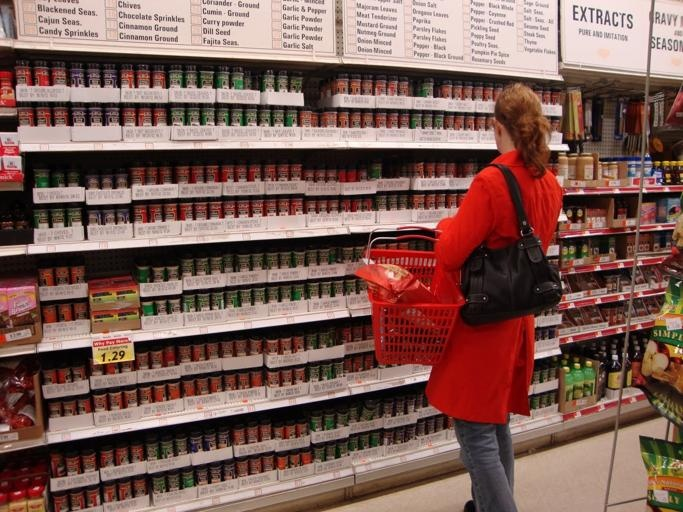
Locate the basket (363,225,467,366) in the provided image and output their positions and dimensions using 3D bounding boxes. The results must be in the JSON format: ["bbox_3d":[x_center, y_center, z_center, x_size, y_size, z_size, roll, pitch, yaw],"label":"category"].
[{"bbox_3d":[0.387,0.169,3.529,0.627,0.812,0.880,4,27,0],"label":"basket"}]

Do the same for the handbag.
[{"bbox_3d":[0.854,-0.071,3.138,0.550,0.837,0.188,-8,4,7],"label":"handbag"}]
